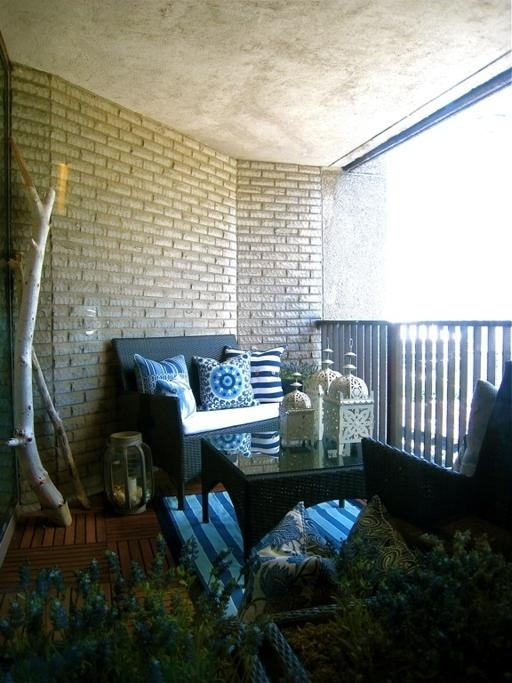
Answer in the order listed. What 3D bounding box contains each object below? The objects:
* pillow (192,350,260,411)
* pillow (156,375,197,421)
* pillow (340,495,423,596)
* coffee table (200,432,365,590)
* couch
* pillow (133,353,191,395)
[{"bbox_3d":[-0.223,0.262,3.586,0.556,0.462,0.287,-1,1,-21],"label":"pillow"},{"bbox_3d":[-0.439,0.309,2.933,0.082,0.155,0.232,-5,0,11],"label":"pillow"},{"bbox_3d":[0.192,0.337,0.897,0.078,0.107,0.166,-14,23,12],"label":"pillow"},{"bbox_3d":[0.089,0.555,1.952,0.522,0.261,0.484,1,-2,-20],"label":"coffee table"},{"bbox_3d":[-0.311,0.404,3.428,0.701,0.738,1.169,7,3,31],"label":"couch"},{"bbox_3d":[-0.561,0.194,3.160,0.077,0.163,0.223,-16,-11,40],"label":"pillow"}]
